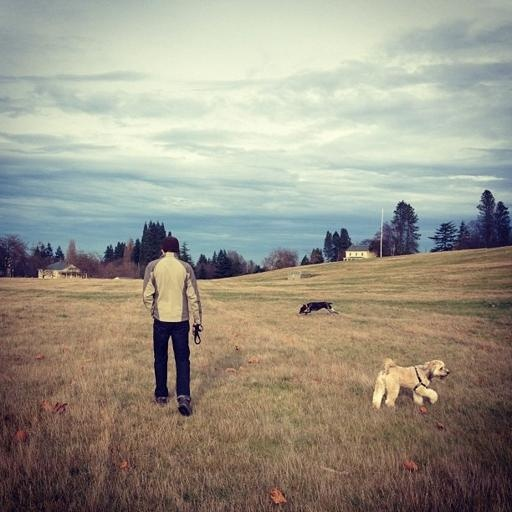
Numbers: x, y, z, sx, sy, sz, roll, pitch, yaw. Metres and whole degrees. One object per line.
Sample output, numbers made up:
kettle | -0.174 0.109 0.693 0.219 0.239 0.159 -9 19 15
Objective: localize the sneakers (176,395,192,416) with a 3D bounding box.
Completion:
sneakers | -1.209 2.523 9.760 0.241 0.288 0.299 1 3 -8

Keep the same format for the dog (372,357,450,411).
dog | 2.751 2.267 10.301 1.424 0.811 0.472 0 3 -21

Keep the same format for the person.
person | -1.522 1.153 10.259 1.000 2.983 1.198 1 3 6
